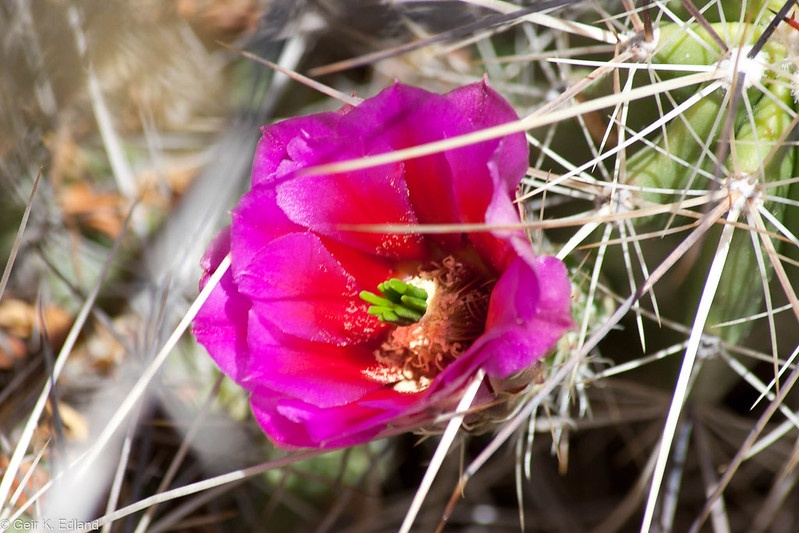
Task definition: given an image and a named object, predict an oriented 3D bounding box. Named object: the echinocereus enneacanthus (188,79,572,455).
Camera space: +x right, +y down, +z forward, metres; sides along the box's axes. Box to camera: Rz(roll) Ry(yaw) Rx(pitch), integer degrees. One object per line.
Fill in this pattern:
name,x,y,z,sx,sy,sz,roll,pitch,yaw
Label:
echinocereus enneacanthus,0.010,0.037,1.031,0.423,0.444,0.212,-27,-26,33
